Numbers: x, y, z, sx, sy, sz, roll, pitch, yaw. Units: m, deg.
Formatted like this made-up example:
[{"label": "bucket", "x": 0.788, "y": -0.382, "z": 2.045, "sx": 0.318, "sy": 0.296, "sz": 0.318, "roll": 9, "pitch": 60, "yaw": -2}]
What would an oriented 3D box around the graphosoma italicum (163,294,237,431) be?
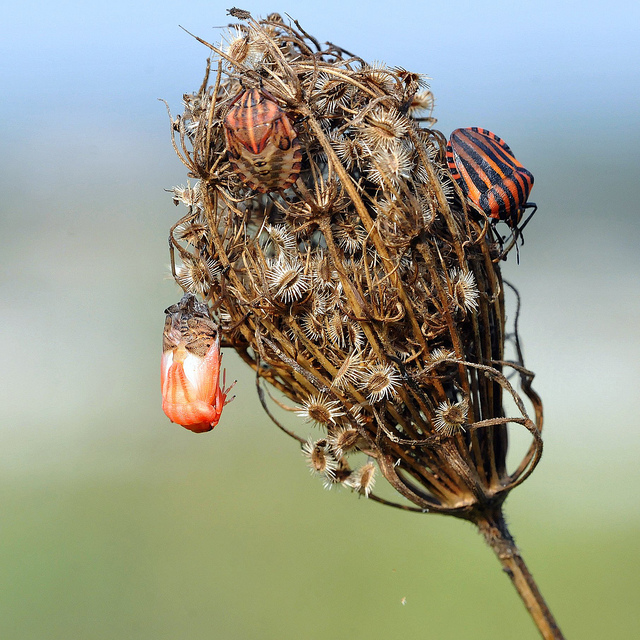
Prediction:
[{"label": "graphosoma italicum", "x": -0.237, "y": 0.085, "z": 1.857, "sx": 0.129, "sy": 0.256, "sz": 0.102, "roll": 1, "pitch": 8, "yaw": -8}]
